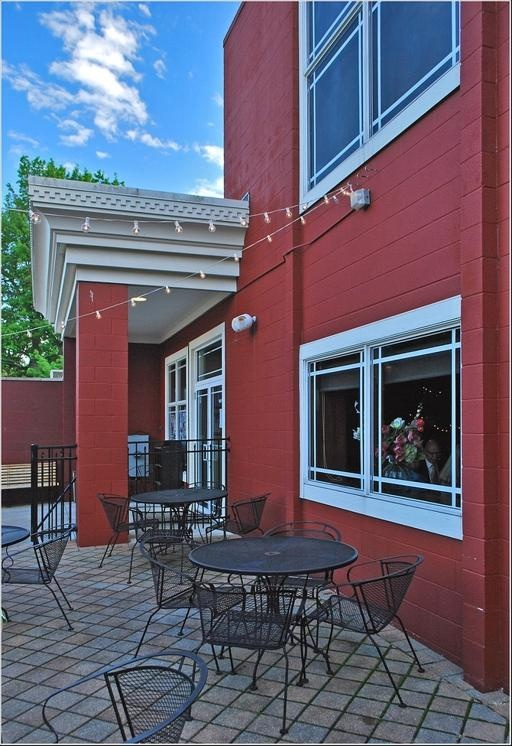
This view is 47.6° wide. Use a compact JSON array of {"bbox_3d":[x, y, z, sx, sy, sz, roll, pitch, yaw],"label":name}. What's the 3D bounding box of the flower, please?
[{"bbox_3d":[0.930,0.420,3.878,0.388,0.527,0.323,-3,1,-30],"label":"flower"}]
